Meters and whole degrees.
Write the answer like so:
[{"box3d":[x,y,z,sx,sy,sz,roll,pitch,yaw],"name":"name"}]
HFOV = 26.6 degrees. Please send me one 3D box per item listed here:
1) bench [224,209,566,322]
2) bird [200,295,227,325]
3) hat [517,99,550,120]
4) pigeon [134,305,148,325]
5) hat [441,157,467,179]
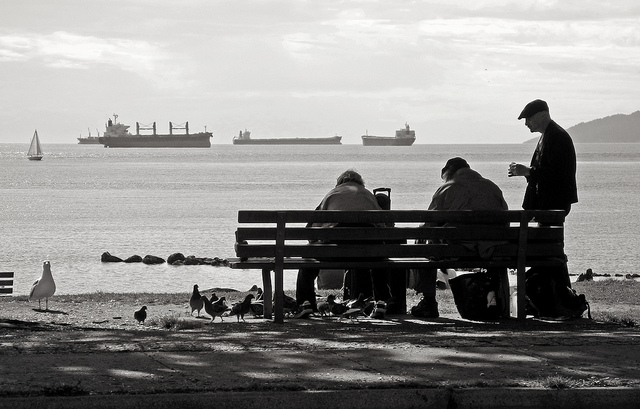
[{"box3d":[1.476,1.168,26.155,6.160,2.151,0.661,0,-1,-4],"name":"bench"},{"box3d":[-2.106,2.048,26.723,0.524,0.469,0.779,0,-1,-12],"name":"bird"},{"box3d":[4.211,-1.868,26.662,0.534,0.356,0.443,0,-1,4],"name":"hat"},{"box3d":[-3.577,2.171,26.692,0.224,0.316,0.679,0,-1,-10],"name":"pigeon"},{"box3d":[2.630,-0.750,26.838,0.519,0.355,0.362,0,-1,15],"name":"hat"}]
